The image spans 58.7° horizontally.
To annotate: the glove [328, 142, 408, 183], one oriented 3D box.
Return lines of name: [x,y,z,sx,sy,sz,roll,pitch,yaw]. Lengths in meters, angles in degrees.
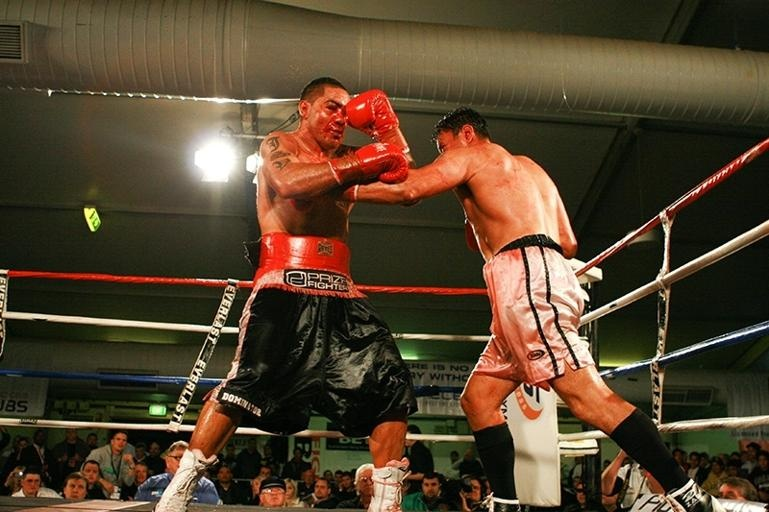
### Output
glove: [-0.100,-0.625,4.657,0.427,0.288,0.179,-9,-18,-7]

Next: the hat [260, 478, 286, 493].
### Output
hat: [-1.190,2.455,7.289,0.280,0.130,0.368,3,-22,-11]

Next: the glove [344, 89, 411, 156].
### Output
glove: [-0.029,-1.120,5.233,0.365,0.493,0.208,-8,-72,35]
